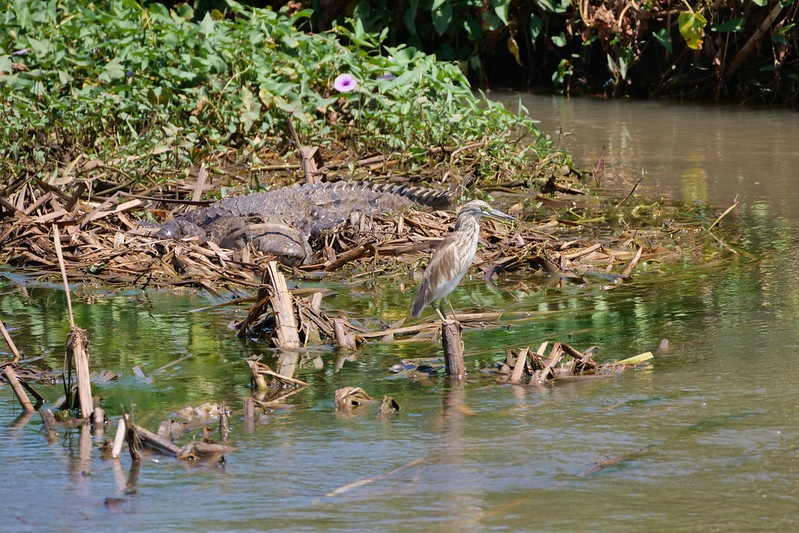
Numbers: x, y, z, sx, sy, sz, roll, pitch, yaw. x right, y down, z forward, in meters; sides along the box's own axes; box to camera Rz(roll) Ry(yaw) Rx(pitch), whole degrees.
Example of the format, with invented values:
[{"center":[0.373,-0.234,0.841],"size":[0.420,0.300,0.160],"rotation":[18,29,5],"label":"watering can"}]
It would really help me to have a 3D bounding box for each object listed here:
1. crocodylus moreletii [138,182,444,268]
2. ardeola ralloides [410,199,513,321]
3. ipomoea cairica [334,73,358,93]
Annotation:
[{"center":[-0.805,-0.348,7.464],"size":[1.296,0.571,1.939],"rotation":[1,6,40],"label":"crocodylus moreletii"},{"center":[0.313,-0.049,5.160],"size":[0.498,0.594,0.217],"rotation":[-11,8,-39],"label":"ardeola ralloides"},{"center":[-0.498,-1.759,9.288],"size":[0.210,0.189,0.336],"rotation":[-5,5,-2],"label":"ipomoea cairica"}]
